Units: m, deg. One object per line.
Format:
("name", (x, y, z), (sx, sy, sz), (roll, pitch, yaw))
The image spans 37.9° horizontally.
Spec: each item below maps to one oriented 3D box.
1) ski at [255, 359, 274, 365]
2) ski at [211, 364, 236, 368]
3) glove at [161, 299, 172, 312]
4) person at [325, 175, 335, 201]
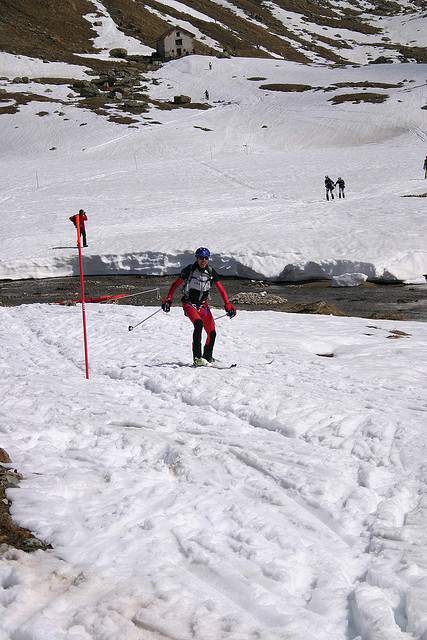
("ski", (0.799, 0.655, 9.534), (0.189, 0.035, 0.178), (2, 15, 16))
("ski", (0.164, 0.682, 9.320), (0.339, 0.061, 0.110), (2, 16, 17))
("glove", (-0.695, -0.222, 9.473), (0.149, 0.184, 0.184), (7, -5, -23))
("person", (6.392, -7.280, 34.184), (0.498, 1.143, 1.831), (-1, 15, 10))
